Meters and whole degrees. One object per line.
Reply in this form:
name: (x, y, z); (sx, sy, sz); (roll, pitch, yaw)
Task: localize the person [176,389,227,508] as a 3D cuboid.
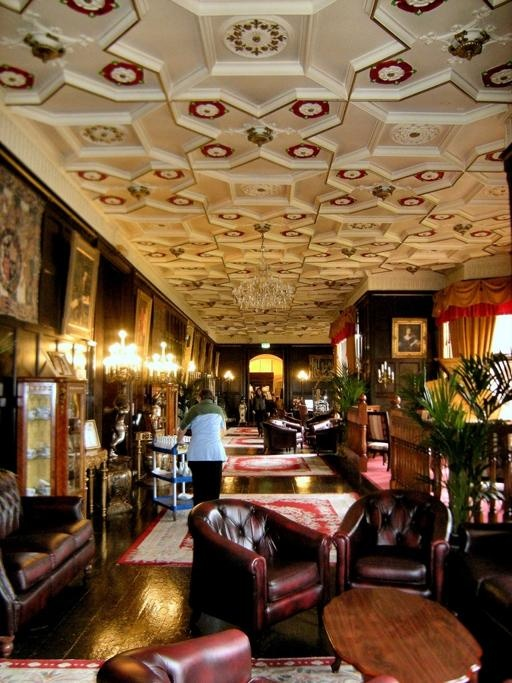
person: (-0.565, 1.090, 4.870); (0.489, 1.187, 0.681); (0, -6, -7)

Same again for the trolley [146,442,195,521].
trolley: (-1.048, 1.764, 6.151); (0.655, 0.955, 0.634); (-7, -21, 22)

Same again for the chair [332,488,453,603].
chair: (0.931, 1.327, 3.195); (0.567, 0.625, 0.626); (-2, -20, 16)

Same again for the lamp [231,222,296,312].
lamp: (0.454, -1.310, 9.703); (1.306, 1.758, 1.309); (3, -4, -29)

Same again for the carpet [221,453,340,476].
carpet: (0.455, 2.691, 10.402); (2.246, 0.058, 3.008); (-1, -6, 2)

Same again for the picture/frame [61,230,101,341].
picture/frame: (-2.234, -0.667, 6.048); (0.323, 1.272, 1.151); (1, -6, -14)

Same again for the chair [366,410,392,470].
chair: (2.175, 1.853, 8.872); (0.604, 0.890, 0.670); (-2, -20, -2)

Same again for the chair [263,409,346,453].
chair: (1.311, 2.512, 12.867); (1.887, 0.969, 2.433); (-4, -7, 25)

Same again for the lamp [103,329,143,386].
lamp: (-1.969, 0.274, 6.947); (0.603, 0.811, 0.585); (-5, -6, 12)

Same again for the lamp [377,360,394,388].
lamp: (3.121, 0.759, 11.314); (0.424, 0.642, 0.964); (-2, -6, 14)

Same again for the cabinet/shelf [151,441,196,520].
cabinet/shelf: (-0.987, 1.723, 6.103); (0.754, 0.855, 0.733); (6, -8, -28)

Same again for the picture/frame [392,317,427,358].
picture/frame: (3.809, -0.104, 11.761); (1.047, 1.150, 0.124); (1, -3, -2)

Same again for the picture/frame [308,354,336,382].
picture/frame: (3.188, 1.269, 22.725); (1.574, 1.427, 0.114); (0, -8, 1)

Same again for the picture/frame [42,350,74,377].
picture/frame: (-2.245, 0.243, 5.315); (0.026, 0.249, 0.356); (-25, -2, 5)

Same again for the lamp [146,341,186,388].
lamp: (-1.698, 0.458, 9.796); (0.874, 1.097, 0.848); (0, 4, -23)

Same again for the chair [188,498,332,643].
chair: (-0.015, 1.400, 3.001); (0.765, 0.655, 0.793); (-9, -14, 41)
